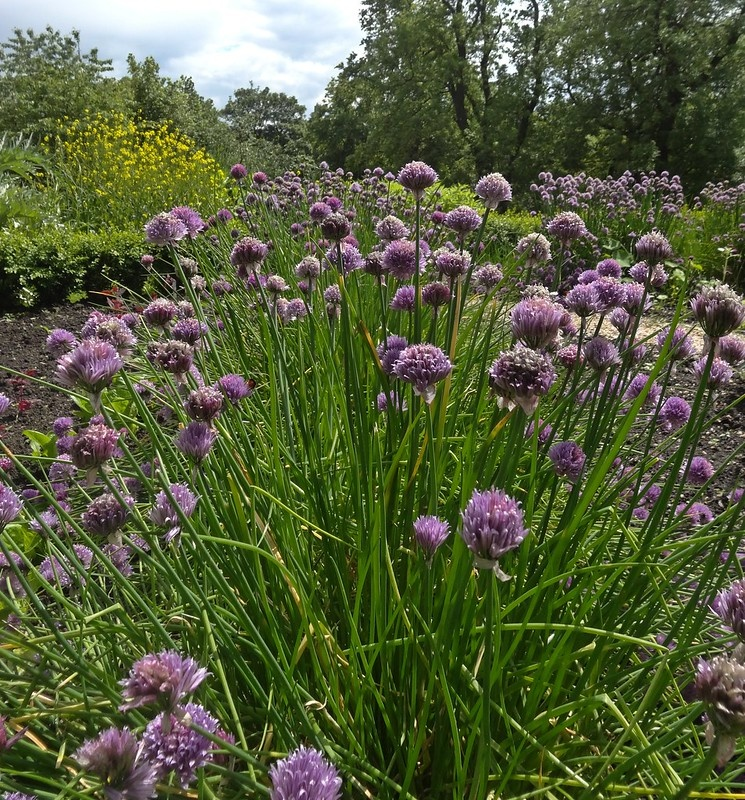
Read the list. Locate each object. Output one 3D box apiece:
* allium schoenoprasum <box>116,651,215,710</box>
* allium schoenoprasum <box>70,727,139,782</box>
[{"bbox_3d":[-0.315,0.395,1.044,0.100,0.068,0.102,5,15,4],"label":"allium schoenoprasum"},{"bbox_3d":[-0.372,0.504,1.030,0.078,0.078,0.078,21,42,-29],"label":"allium schoenoprasum"}]
